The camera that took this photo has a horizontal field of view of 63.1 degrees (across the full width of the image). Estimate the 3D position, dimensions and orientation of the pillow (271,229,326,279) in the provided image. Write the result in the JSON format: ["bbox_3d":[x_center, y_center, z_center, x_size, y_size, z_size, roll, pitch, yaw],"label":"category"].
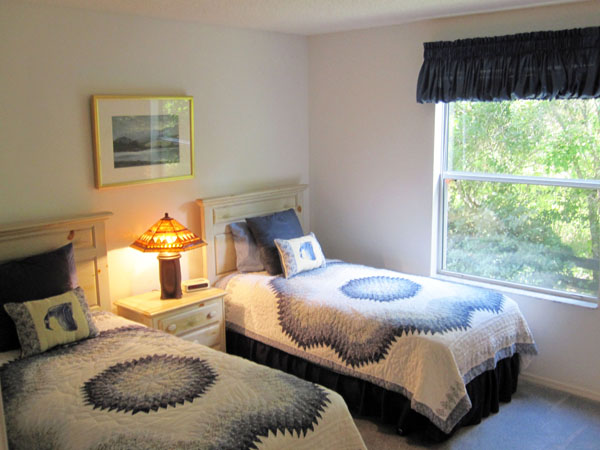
[{"bbox_3d":[-0.002,0.267,4.357,0.120,0.353,0.447,-22,-6,40],"label":"pillow"}]

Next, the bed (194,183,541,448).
[{"bbox_3d":[0.442,0.521,4.186,2.451,1.496,1.550,8,17,41],"label":"bed"}]

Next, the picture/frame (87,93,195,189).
[{"bbox_3d":[-1.299,-0.694,3.908,0.047,0.628,0.698,9,14,42],"label":"picture/frame"}]

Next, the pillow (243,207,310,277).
[{"bbox_3d":[-0.222,0.146,4.488,0.158,0.552,0.549,-23,-9,33],"label":"pillow"}]

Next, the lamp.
[{"bbox_3d":[-1.074,0.239,4.014,0.554,0.726,0.531,0,11,1],"label":"lamp"}]
